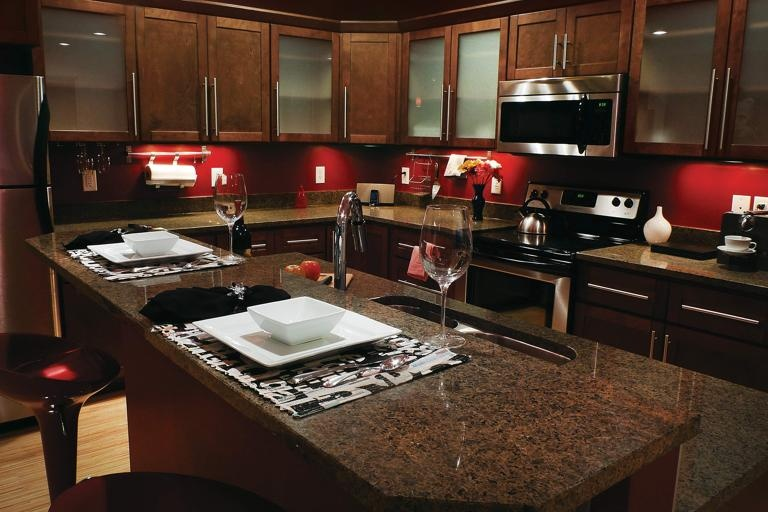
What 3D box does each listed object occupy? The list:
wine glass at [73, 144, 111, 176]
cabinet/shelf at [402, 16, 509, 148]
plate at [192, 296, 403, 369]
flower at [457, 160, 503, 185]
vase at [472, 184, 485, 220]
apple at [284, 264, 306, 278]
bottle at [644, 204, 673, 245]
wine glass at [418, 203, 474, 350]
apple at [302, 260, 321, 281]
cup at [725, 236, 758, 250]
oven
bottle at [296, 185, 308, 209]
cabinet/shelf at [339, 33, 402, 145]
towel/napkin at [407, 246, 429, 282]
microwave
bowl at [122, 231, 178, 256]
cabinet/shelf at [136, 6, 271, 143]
[{"bbox_3d":[-2.088,-0.712,3.981,0.279,0.263,0.198,-5,20,-29],"label":"wine glass"},{"bbox_3d":[0.646,-1.346,4.433,0.999,0.907,0.390,15,24,40],"label":"cabinet/shelf"},{"bbox_3d":[-0.241,0.184,1.514,0.496,0.111,0.323,-9,18,-28],"label":"plate"},{"bbox_3d":[0.779,-0.686,4.431,0.325,0.208,0.421,2,16,11],"label":"flower"},{"bbox_3d":[0.744,-0.425,4.322,0.088,0.282,0.183,2,16,9],"label":"vase"},{"bbox_3d":[-0.365,0.060,2.194,0.057,0.051,0.055,0,4,-4],"label":"apple"},{"bbox_3d":[1.729,-0.193,3.460,0.173,0.223,0.172,4,5,0],"label":"bottle"},{"bbox_3d":[0.169,0.059,1.569,0.137,0.420,0.227,-1,16,1],"label":"wine glass"},{"bbox_3d":[-0.312,0.053,2.244,0.075,0.075,0.078,11,17,37],"label":"apple"},{"bbox_3d":[1.897,-0.072,2.913,0.101,0.044,0.082,1,9,12],"label":"cup"},{"bbox_3d":[0.855,0.197,3.591,0.504,0.725,0.508,-2,10,-28],"label":"oven"},{"bbox_3d":[-0.738,-0.527,4.898,0.112,0.182,0.227,-4,16,-9],"label":"bottle"},{"bbox_3d":[-0.247,-1.480,4.819,0.681,0.886,0.656,5,19,9],"label":"cabinet/shelf"},{"bbox_3d":[0.162,0.071,2.843,0.108,0.040,0.178,8,21,11],"label":"towel/napkin"},{"bbox_3d":[1.287,-0.964,3.830,0.509,0.525,0.884,-14,19,-42],"label":"microwave"},{"bbox_3d":[-0.968,-0.059,2.270,0.197,0.084,0.214,-1,16,0],"label":"bowl"},{"bbox_3d":[-1.355,-1.345,3.993,1.095,0.980,0.415,-3,8,-32],"label":"cabinet/shelf"}]
